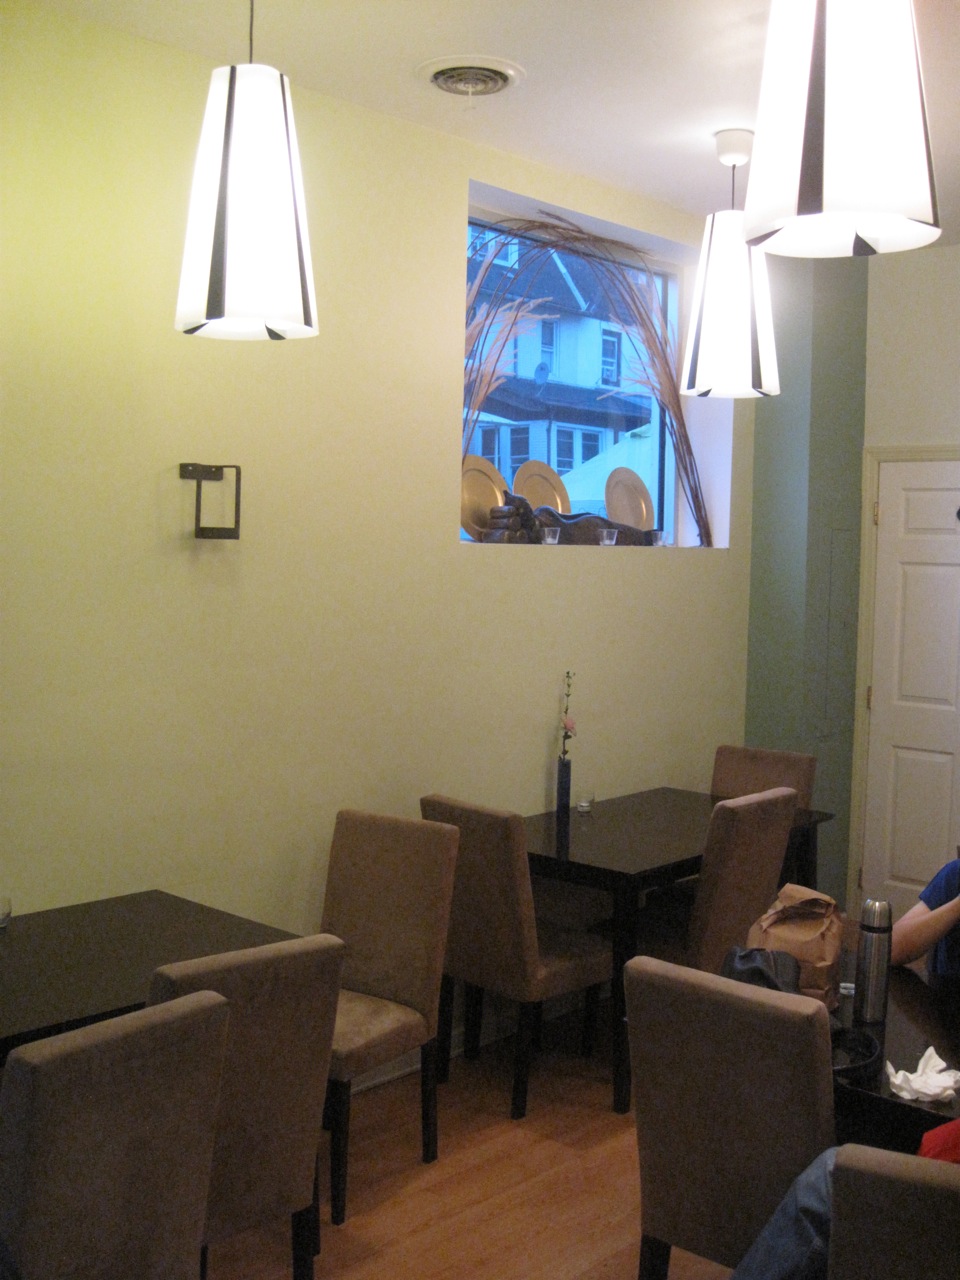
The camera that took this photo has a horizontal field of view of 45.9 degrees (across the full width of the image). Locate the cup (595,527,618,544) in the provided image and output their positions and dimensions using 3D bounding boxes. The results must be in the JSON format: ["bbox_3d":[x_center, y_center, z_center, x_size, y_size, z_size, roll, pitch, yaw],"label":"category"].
[{"bbox_3d":[0.479,-0.377,4.277,0.057,0.066,0.069,-7,-6,44],"label":"cup"}]

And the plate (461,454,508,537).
[{"bbox_3d":[0.007,-0.480,3.784,0.049,0.235,0.200,-3,-6,37],"label":"plate"}]

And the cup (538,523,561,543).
[{"bbox_3d":[0.251,-0.375,4.042,0.052,0.071,0.059,1,-6,-16],"label":"cup"}]

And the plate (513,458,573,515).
[{"bbox_3d":[0.220,-0.550,4.060,0.038,0.177,0.299,2,1,40],"label":"plate"}]

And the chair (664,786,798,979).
[{"bbox_3d":[0.755,0.712,3.382,0.210,0.523,0.459,2,2,43],"label":"chair"}]

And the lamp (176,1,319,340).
[{"bbox_3d":[-0.357,-0.676,1.777,0.215,0.403,0.244,1,1,5],"label":"lamp"}]

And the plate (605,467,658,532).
[{"bbox_3d":[0.590,-0.557,4.469,0.044,0.237,0.323,2,1,38],"label":"plate"}]
